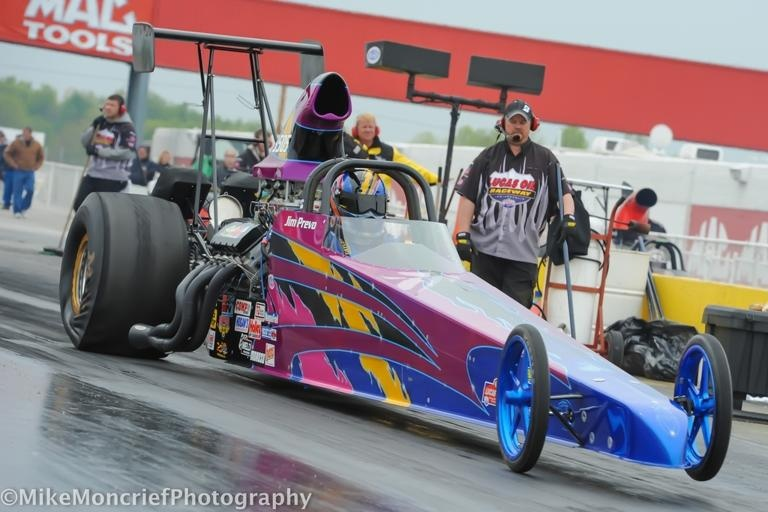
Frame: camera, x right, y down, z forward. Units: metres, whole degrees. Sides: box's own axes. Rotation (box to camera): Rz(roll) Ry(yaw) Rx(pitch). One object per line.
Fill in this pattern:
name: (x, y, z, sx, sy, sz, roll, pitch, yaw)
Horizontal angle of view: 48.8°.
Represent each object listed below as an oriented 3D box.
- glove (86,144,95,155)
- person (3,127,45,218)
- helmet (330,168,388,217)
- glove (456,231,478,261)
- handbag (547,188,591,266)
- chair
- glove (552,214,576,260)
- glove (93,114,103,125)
glove: (-4.766, -1.735, 13.696, 0.125, 0.126, 0.214, 9, 5, -7)
person: (-9.197, -2.150, 21.306, 0.952, 2.222, 0.832, 7, 5, 9)
helmet: (-0.236, -0.547, 7.488, 0.351, 0.431, 0.460, 8, -17, -22)
glove: (0.740, -0.096, 7.654, 0.082, 0.256, 0.173, -11, -21, 24)
handbag: (1.804, -0.246, 8.321, 0.404, 0.803, 0.265, -5, 1, -26)
chair: (-0.121, -0.473, 7.434, 1.022, 0.779, 0.786, 2, 4, -15)
glove: (1.717, -0.161, 8.098, 0.129, 0.373, 0.356, -19, 15, 12)
glove: (-4.729, -2.247, 13.947, 0.067, 0.211, 0.191, 45, -23, -17)
